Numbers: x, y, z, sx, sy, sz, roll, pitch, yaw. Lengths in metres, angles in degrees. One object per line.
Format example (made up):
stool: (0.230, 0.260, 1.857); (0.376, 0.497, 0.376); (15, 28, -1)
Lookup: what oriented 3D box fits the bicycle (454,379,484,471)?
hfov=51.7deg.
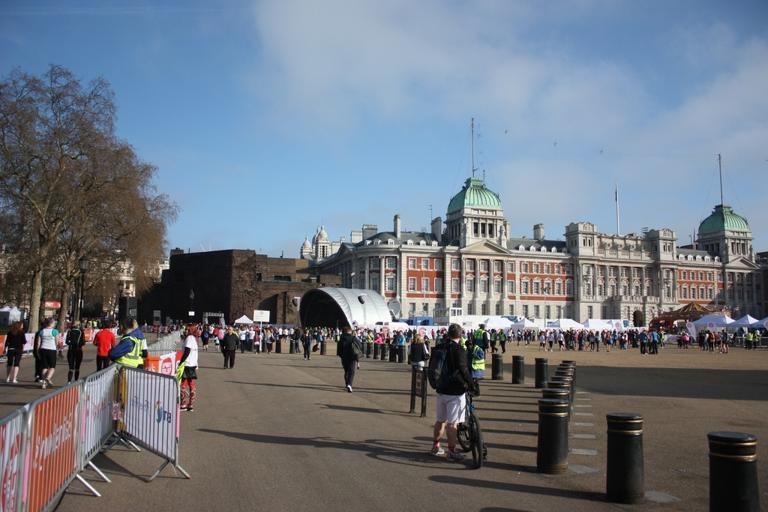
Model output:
bicycle: (2.237, 4.215, 20.091); (0.710, 2.109, 1.560); (2, -8, 4)

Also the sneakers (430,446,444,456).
sneakers: (1.371, 4.955, 20.132); (0.154, 0.198, 0.423); (0, 0, 34)

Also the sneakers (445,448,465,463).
sneakers: (1.745, 5.016, 19.860); (0.547, 0.258, 0.204); (4, -2, -7)

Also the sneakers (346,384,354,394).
sneakers: (-1.251, 4.788, 28.530); (0.131, 0.382, 0.148); (-3, 35, -3)
